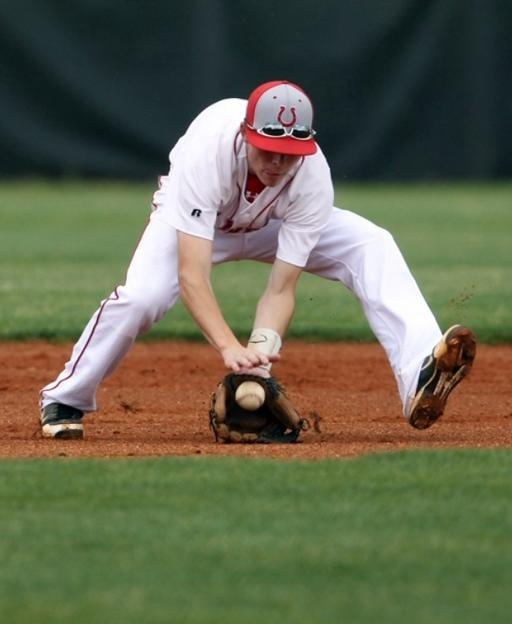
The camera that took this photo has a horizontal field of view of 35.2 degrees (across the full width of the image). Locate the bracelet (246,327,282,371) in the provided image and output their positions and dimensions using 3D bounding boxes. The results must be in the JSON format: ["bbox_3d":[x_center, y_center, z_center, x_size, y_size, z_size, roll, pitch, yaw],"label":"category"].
[{"bbox_3d":[0.032,0.125,2.712,0.116,0.146,0.075,20,-16,7],"label":"bracelet"}]

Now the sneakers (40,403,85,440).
[{"bbox_3d":[-0.709,0.405,2.947,0.096,0.080,0.213,0,3,-24],"label":"sneakers"}]

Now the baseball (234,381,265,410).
[{"bbox_3d":[-0.020,0.272,2.666,0.117,0.082,0.101,3,7,-4],"label":"baseball"}]

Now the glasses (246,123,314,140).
[{"bbox_3d":[0.089,-0.561,2.541,0.220,0.045,0.103,1,4,-13],"label":"glasses"}]

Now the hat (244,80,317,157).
[{"bbox_3d":[0.102,-0.642,2.644,0.280,0.139,0.315,2,1,9],"label":"hat"}]

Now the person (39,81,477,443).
[{"bbox_3d":[0.064,-0.134,2.829,1.387,1.253,0.778,5,5,35],"label":"person"}]
